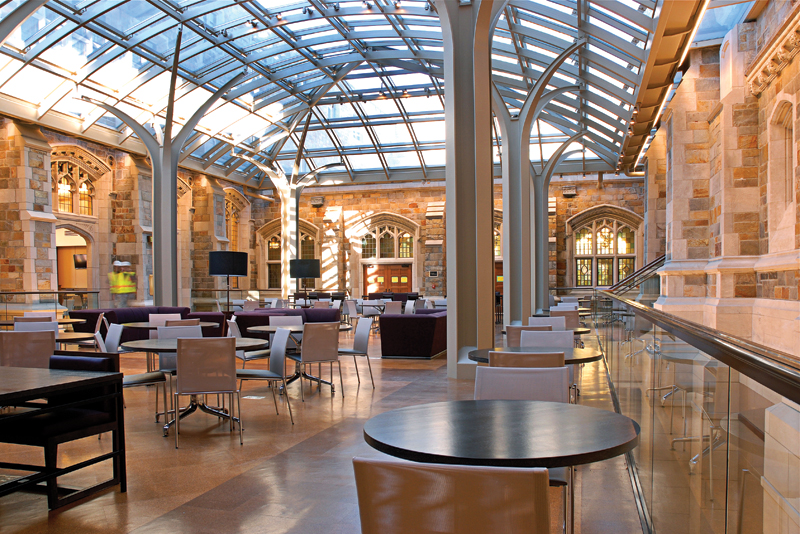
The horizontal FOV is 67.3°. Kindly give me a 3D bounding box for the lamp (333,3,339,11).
[{"bbox_3d":[-1.559,-6.434,14.882,0.114,0.137,0.053,1,40,5],"label":"lamp"}]

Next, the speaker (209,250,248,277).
[{"bbox_3d":[-3.784,-0.081,12.928,0.668,0.383,0.671,-3,-5,38],"label":"speaker"}]

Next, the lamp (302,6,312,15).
[{"bbox_3d":[-2.298,-6.394,14.953,0.184,0.165,0.116,4,20,25],"label":"lamp"}]

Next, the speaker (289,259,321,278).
[{"bbox_3d":[-2.877,0.038,17.981,0.743,0.404,0.739,-4,-4,35],"label":"speaker"}]

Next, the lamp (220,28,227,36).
[{"bbox_3d":[-4.620,-6.195,15.856,0.085,0.188,0.084,5,19,23],"label":"lamp"}]
